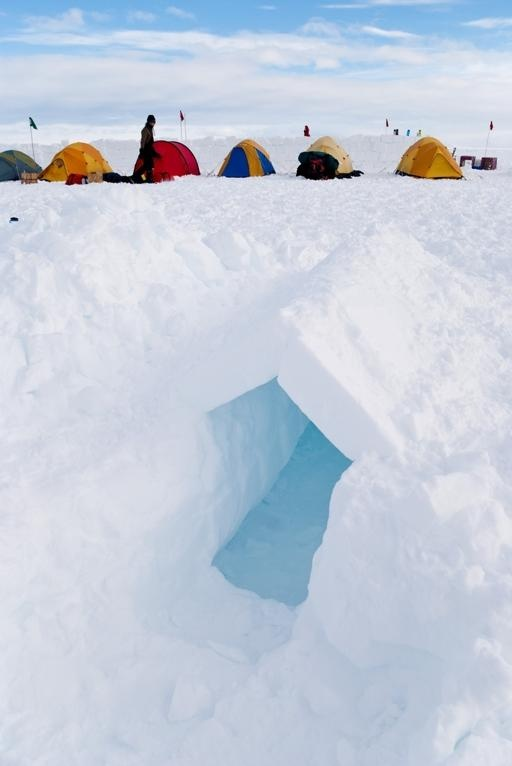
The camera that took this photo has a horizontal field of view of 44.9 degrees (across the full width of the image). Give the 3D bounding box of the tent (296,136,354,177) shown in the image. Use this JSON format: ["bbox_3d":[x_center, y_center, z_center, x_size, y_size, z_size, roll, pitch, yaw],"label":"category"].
[{"bbox_3d":[1.360,-4.372,12.044,1.326,0.724,0.789,-20,31,-41],"label":"tent"}]

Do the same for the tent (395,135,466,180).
[{"bbox_3d":[3.355,-4.366,12.071,0.880,0.729,1.384,-8,25,-22],"label":"tent"}]

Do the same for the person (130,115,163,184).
[{"bbox_3d":[-1.887,-3.915,10.439,0.456,1.074,2.163,-2,24,-9],"label":"person"}]

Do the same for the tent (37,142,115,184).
[{"bbox_3d":[-3.288,-3.945,11.130,1.209,0.604,0.757,-6,24,-18],"label":"tent"}]

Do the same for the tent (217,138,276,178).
[{"bbox_3d":[-0.174,-4.489,12.485,0.806,0.617,1.362,21,30,38],"label":"tent"}]
